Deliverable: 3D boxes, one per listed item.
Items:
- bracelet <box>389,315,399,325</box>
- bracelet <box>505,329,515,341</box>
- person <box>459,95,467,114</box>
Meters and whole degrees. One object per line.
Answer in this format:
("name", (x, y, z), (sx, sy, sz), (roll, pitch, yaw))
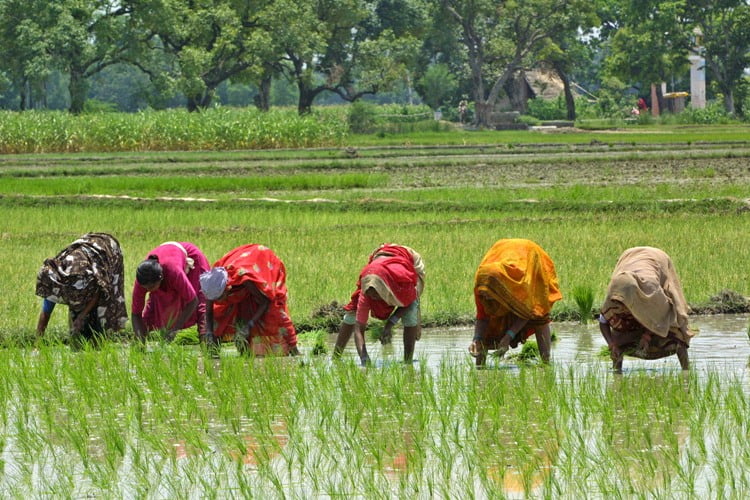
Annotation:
("bracelet", (0.595, 2.378, 53.426), (0.220, 0.185, 0.237), (-13, -3, -1))
("bracelet", (4.431, 2.868, 53.099), (0.268, 0.222, 0.396), (-1, 9, 7))
("person", (5.187, -8.650, 95.605), (0.482, 1.142, 1.618), (0, 1, 4))
